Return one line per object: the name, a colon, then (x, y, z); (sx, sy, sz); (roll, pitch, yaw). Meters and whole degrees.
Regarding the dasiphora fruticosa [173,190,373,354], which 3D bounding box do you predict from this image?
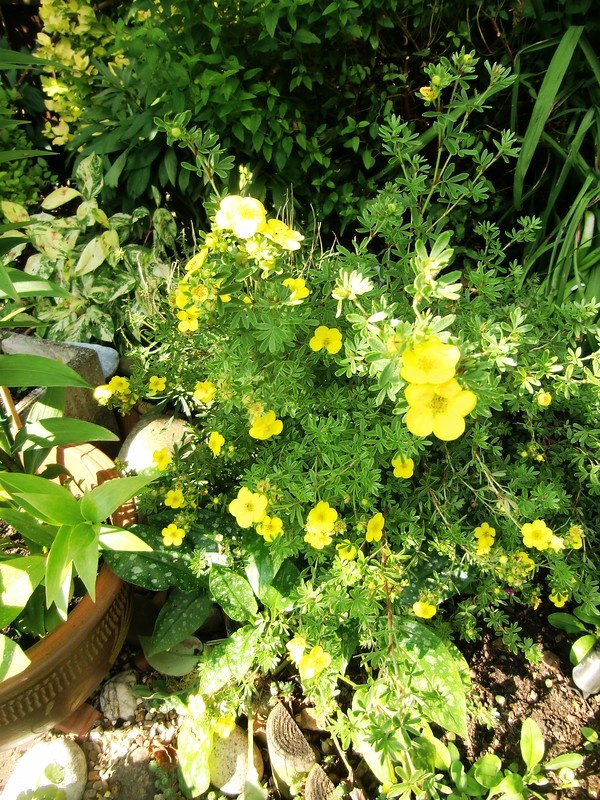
dasiphora fruticosa: (-0.067, -0.238, 1.203); (0.295, 0.140, 0.269); (-14, 78, 6)
